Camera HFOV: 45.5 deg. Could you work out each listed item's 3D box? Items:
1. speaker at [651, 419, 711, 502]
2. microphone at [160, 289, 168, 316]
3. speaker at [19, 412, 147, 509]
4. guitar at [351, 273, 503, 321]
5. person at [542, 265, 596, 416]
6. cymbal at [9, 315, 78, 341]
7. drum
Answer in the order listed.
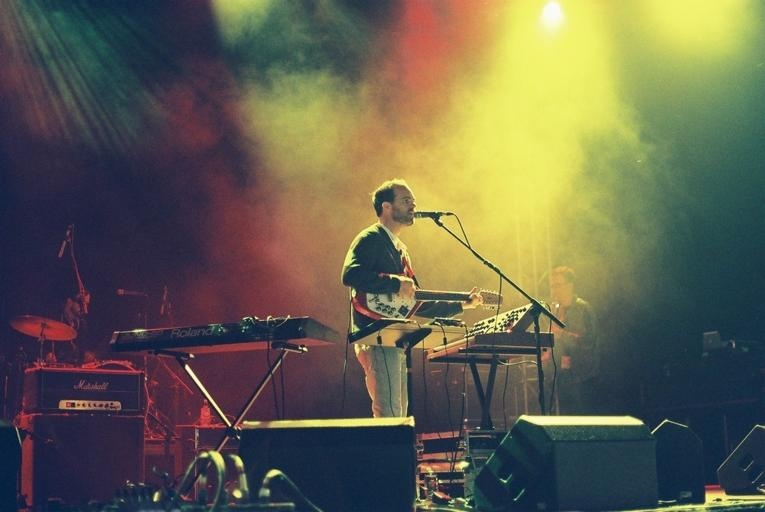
[{"bbox_3d":[2.859,2.002,8.880,0.528,0.798,0.194,0,-13,-15],"label":"speaker"},{"bbox_3d":[-3.324,0.676,13.858,0.153,0.438,0.061,2,-13,-23],"label":"microphone"},{"bbox_3d":[-3.517,2.214,10.705,1.372,1.407,0.991,4,-14,-24],"label":"speaker"},{"bbox_3d":[0.388,0.503,9.294,1.386,0.396,0.549,2,-15,-24],"label":"guitar"},{"bbox_3d":[2.335,0.988,11.362,0.621,1.909,0.847,-6,-13,9],"label":"person"},{"bbox_3d":[-4.340,0.920,11.661,0.783,0.342,0.482,1,-15,-22],"label":"cymbal"},{"bbox_3d":[-3.213,1.602,10.739,0.975,0.660,0.563,5,-15,-20],"label":"drum"}]
